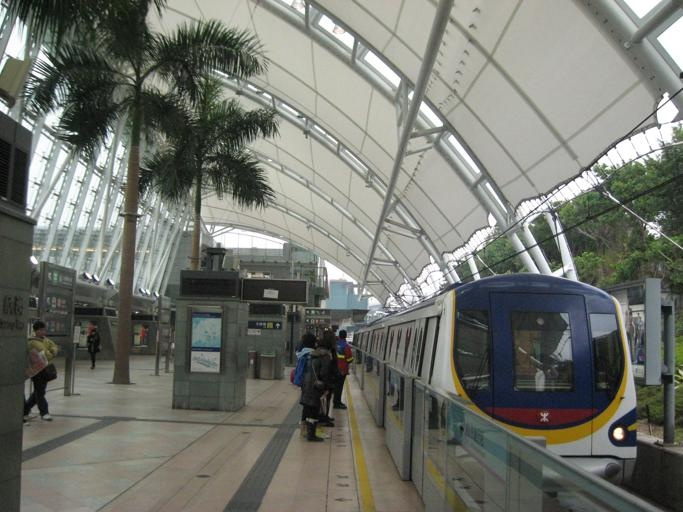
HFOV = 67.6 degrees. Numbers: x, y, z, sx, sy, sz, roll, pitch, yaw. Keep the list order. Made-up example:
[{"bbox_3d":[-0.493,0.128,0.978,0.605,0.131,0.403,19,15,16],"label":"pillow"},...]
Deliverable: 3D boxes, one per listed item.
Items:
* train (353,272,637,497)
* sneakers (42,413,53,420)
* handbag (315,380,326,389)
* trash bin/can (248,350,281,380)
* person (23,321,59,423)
[{"bbox_3d":[1.860,2.678,12.465,2.007,2.703,9.079,9,-10,-8],"label":"train"},{"bbox_3d":[-7.041,3.856,12.190,0.263,0.131,0.105,-3,-3,14],"label":"sneakers"},{"bbox_3d":[-0.474,2.807,11.177,0.139,0.143,0.252,18,-26,13],"label":"handbag"},{"bbox_3d":[-3.928,5.622,26.155,1.654,1.354,0.869,2,-11,-10],"label":"trash bin/can"},{"bbox_3d":[-7.338,2.744,12.439,0.650,2.413,1.523,7,-13,-31],"label":"person"}]
